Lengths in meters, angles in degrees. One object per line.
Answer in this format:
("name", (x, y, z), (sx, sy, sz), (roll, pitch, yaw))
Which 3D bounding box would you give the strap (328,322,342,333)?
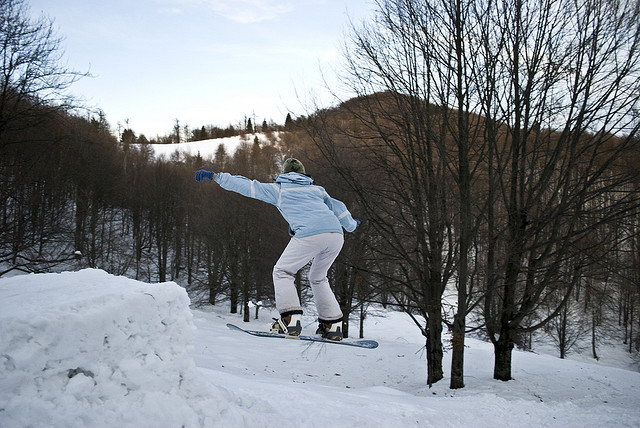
("strap", (0.382, 2.896, 13.767), (0.190, 0.233, 0.250), (-1, -1, 3))

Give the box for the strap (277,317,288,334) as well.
("strap", (-0.930, 2.787, 13.476), (0.197, 0.408, 0.293), (5, -7, -20))

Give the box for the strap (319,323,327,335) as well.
("strap", (0.067, 2.977, 13.899), (0.054, 0.228, 0.161), (-25, 5, -23))
